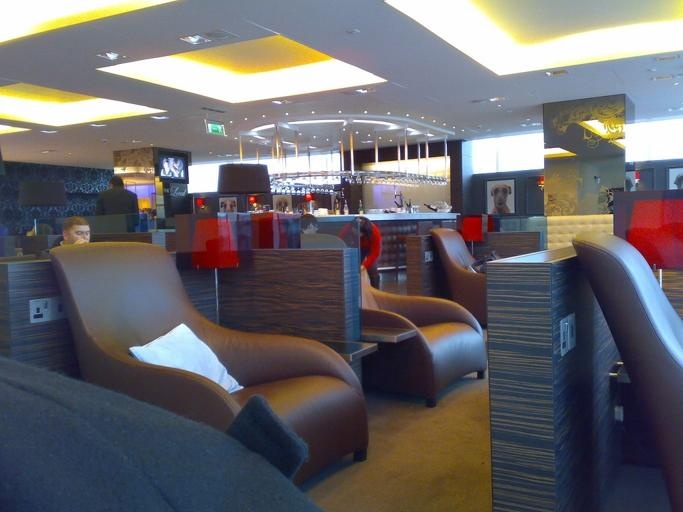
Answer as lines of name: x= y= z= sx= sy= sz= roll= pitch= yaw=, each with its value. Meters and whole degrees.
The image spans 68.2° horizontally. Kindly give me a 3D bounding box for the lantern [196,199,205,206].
lantern: x=-2.110 y=-0.808 z=7.615 sx=0.070 sy=0.141 sz=0.136 roll=3 pitch=-3 yaw=-44
